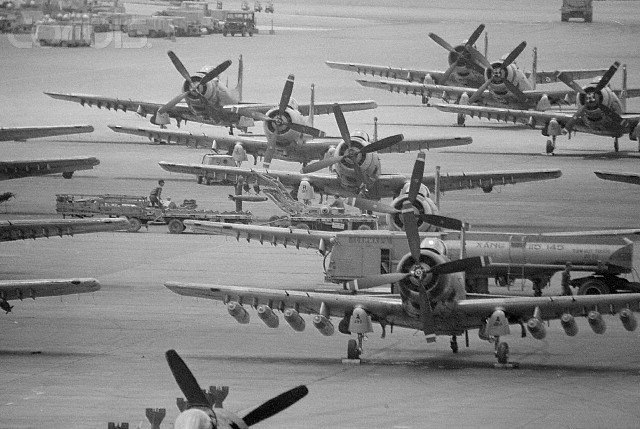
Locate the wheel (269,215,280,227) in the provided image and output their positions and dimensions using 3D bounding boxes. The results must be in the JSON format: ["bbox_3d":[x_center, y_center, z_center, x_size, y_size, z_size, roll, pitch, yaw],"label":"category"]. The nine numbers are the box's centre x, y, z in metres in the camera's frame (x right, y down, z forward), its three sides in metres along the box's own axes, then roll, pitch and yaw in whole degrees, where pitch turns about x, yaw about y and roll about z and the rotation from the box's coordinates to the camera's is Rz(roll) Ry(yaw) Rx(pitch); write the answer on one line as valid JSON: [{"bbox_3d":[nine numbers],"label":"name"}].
[{"bbox_3d":[-2.644,0.498,90.607,0.699,0.272,0.830,1,11,-3],"label":"wheel"}]

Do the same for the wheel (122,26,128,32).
[{"bbox_3d":[-17.692,-16.785,137.347,0.459,0.514,0.315,-2,9,-2],"label":"wheel"}]

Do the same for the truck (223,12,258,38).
[{"bbox_3d":[-8.192,-17.952,144.640,2.600,1.869,3.873,0,2,0],"label":"truck"}]

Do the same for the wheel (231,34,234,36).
[{"bbox_3d":[-8.185,-16.981,143.359,0.367,0.209,0.103,0,-4,1],"label":"wheel"}]

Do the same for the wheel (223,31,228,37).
[{"bbox_3d":[-8.873,-17.034,143.034,0.416,0.467,0.582,-1,9,2],"label":"wheel"}]

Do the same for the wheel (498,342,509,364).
[{"bbox_3d":[9.422,7.093,76.251,0.404,0.825,0.904,1,-25,13],"label":"wheel"}]

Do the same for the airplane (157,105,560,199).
[{"bbox_3d":[2.533,-2.678,96.723,24.150,4.686,15.170,0,-4,-5],"label":"airplane"}]

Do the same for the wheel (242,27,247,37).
[{"bbox_3d":[-7.081,-17.267,143.360,0.488,0.723,0.200,0,9,-12],"label":"wheel"}]

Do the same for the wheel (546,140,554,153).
[{"bbox_3d":[16.470,-4.681,106.445,0.545,0.816,0.339,-4,34,-2],"label":"wheel"}]

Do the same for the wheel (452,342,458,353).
[{"bbox_3d":[7.130,6.929,77.964,0.257,0.534,0.258,-2,10,0],"label":"wheel"}]

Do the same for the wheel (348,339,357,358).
[{"bbox_3d":[1.756,6.929,76.676,0.383,0.829,0.946,1,-5,7],"label":"wheel"}]

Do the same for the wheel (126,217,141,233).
[{"bbox_3d":[-11.297,0.701,92.417,0.714,1.004,0.559,-4,10,-10],"label":"wheel"}]
